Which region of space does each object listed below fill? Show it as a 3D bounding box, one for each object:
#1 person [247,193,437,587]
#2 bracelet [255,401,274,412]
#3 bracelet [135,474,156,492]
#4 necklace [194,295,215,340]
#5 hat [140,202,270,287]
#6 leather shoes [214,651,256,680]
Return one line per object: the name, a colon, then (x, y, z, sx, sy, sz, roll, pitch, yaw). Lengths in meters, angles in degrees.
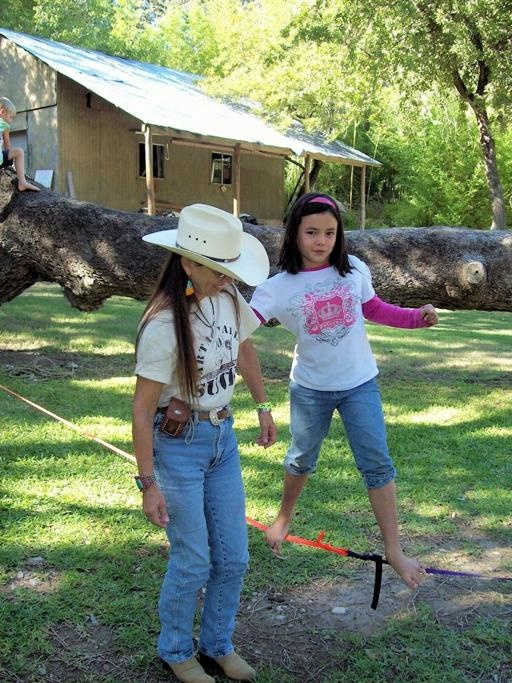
person: (0.375, 0.182, 3.017, 0.793, 1.670, 0.374, 3, 4, 14)
bracelet: (0.032, 0.274, 2.807, 0.070, 0.045, 0.064, -10, -1, 4)
bracelet: (-0.363, 0.460, 2.188, 0.074, 0.042, 0.071, -5, -7, 0)
necklace: (-0.179, -0.081, 2.319, 0.110, 0.127, 0.046, -6, 0, -43)
hat: (-0.180, -0.345, 2.373, 0.412, 0.281, 0.375, 2, 3, 7)
leather shoes: (-0.083, 1.176, 2.432, 0.132, 0.047, 0.099, -7, -45, 42)
